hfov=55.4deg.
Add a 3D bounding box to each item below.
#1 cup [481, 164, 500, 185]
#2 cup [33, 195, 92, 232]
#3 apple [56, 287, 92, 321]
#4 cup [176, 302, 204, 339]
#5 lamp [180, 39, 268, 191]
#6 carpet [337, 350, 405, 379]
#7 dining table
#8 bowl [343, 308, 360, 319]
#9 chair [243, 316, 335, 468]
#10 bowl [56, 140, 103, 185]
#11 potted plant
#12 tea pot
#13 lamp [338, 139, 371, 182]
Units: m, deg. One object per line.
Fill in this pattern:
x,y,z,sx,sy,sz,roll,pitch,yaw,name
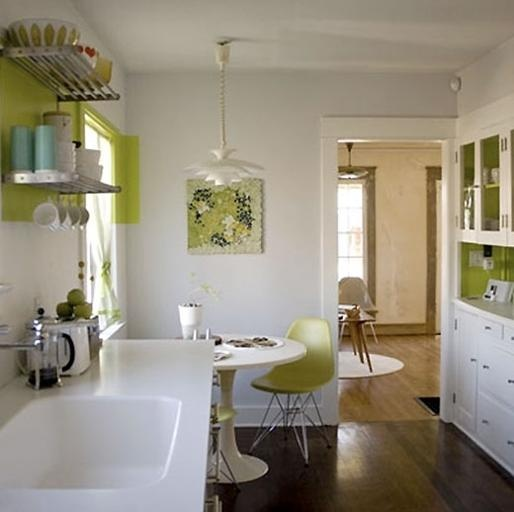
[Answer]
1.571,-0.545,3.304,0.085,0.110,0.095,0,-3,13,cup
-0.785,-0.166,1.970,0.166,0.134,0.078,-6,7,14,cup
-0.774,0.212,2.077,0.115,0.055,0.131,2,-40,-13,apple
-0.422,0.411,3.181,0.178,0.340,0.197,0,-5,-2,cup
-0.186,-0.821,2.704,0.348,0.762,0.351,1,4,19,lamp
1.251,1.186,5.375,0.715,0.048,1.166,0,3,9,carpet
0.007,0.931,3.053,0.541,0.786,0.785,-1,3,-6,dining table
1.047,0.630,5.380,0.159,0.107,0.181,0,3,12,bowl
0.248,0.876,3.324,0.465,0.908,0.534,-1,-6,36,chair
-0.740,-0.389,2.086,0.160,0.173,0.215,-1,-5,0,bowl
-0.398,0.357,3.161,0.182,0.430,0.152,6,6,-10,potted plant
-0.755,0.322,1.806,0.149,0.266,0.072,4,17,-14,tea pot
1.103,-1.168,5.820,0.323,0.394,0.352,3,-6,-23,lamp
